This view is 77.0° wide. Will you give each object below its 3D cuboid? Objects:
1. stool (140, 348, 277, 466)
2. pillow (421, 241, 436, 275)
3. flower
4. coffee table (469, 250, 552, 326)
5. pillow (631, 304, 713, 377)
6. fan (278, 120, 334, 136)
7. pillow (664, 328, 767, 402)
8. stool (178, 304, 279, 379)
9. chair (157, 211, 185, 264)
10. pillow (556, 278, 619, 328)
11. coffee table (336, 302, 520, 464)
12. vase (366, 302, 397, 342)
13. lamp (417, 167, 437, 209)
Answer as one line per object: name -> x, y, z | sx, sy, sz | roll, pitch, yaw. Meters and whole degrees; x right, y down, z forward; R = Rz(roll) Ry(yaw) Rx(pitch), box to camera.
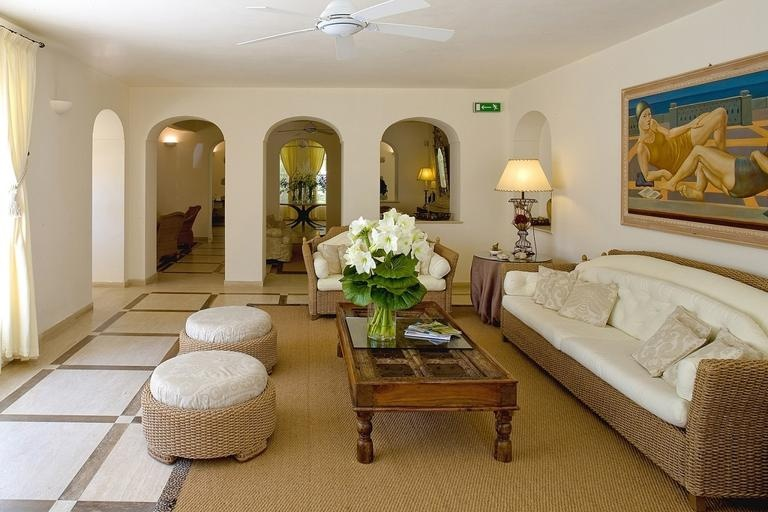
stool -> -1.262, 1.095, 3.533 | 0.796, 0.396, 0.793 | 1, 18, -9
pillow -> 0.527, 0.042, 5.747 | 0.111, 0.370, 0.308 | 15, -22, -14
flower -> 0.059, 0.068, 4.280 | 0.766, 0.873, 0.821 | 0, -17, 11
coffee table -> 1.546, 0.415, 6.388 | 0.923, 0.687, 0.933 | 2, 2, 4
pillow -> 2.222, 0.686, 3.734 | 0.135, 0.463, 0.491 | 37, 12, -4
fan -> -2.142, -3.396, 12.679 | 1.496, 0.388, 2.223 | 1, 13, 2
pillow -> 2.332, 0.768, 3.437 | 0.688, 0.393, 0.447 | -3, 13, -14
stool -> -1.476, 0.731, 4.638 | 0.728, 0.397, 0.722 | 2, 11, -12
chair -> -4.481, -0.396, 10.134 | 0.562, 1.082, 1.170 | -5, 14, -25
pillow -> 2.058, 0.439, 4.835 | 0.139, 0.431, 0.457 | 37, -15, -29
coffee table -> 0.324, 0.637, 3.695 | 0.845, 0.423, 1.786 | 1, 5, -2
vase -> 0.009, 0.581, 4.356 | 0.314, 0.495, 0.303 | 1, -1, 5
lamp -> 1.140, -1.840, 12.909 | 0.433, 1.052, 0.931 | 1, 13, 1
